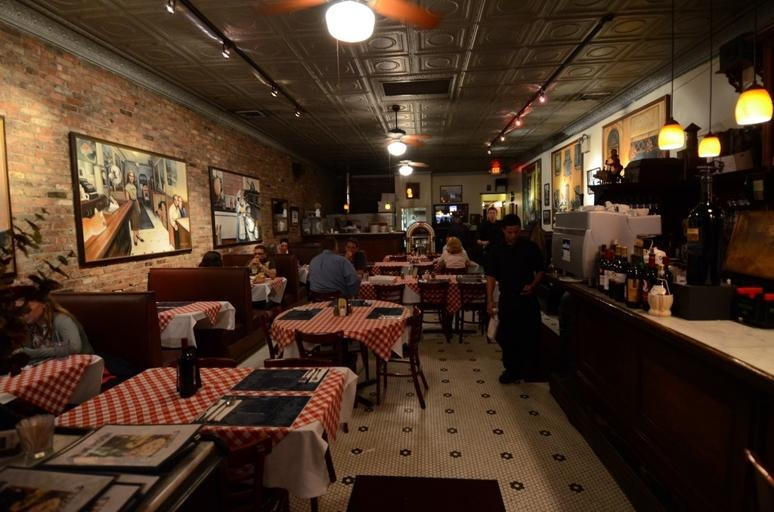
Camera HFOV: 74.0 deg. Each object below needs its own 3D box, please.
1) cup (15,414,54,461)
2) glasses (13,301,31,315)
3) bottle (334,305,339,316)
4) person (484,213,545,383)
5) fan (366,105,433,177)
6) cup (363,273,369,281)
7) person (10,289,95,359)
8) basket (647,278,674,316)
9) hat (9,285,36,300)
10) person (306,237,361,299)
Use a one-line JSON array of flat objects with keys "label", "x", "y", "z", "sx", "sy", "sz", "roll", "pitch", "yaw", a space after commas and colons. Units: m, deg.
[{"label": "cup", "x": -2.226, "y": 1.167, "z": 3.386, "sx": 0.248, "sy": 0.268, "sz": 0.250, "roll": -3, "pitch": -5, "yaw": 0}, {"label": "glasses", "x": -2.270, "y": 0.328, "z": 3.186, "sx": 0.072, "sy": 0.105, "sz": 0.238, "roll": -7, "pitch": 8, "yaw": -37}, {"label": "bottle", "x": -0.548, "y": 0.603, "z": 5.738, "sx": 0.077, "sy": 0.125, "sz": 0.079, "roll": 0, "pitch": 7, "yaw": 0}, {"label": "person", "x": 1.581, "y": 0.516, "z": 6.291, "sx": 0.677, "sy": 2.034, "sz": 0.375, "roll": -1, "pitch": 7, "yaw": 7}, {"label": "fan", "x": 0.127, "y": -2.368, "z": 10.754, "sx": 1.390, "sy": 1.218, "sz": 1.408, "roll": 4, "pitch": 14, "yaw": 22}, {"label": "cup", "x": -0.305, "y": 0.306, "z": 7.673, "sx": 0.086, "sy": 0.155, "sz": 0.161, "roll": 1, "pitch": 2, "yaw": 8}, {"label": "person", "x": -3.283, "y": 0.690, "z": 4.974, "sx": 0.585, "sy": 0.753, "sz": 0.686, "roll": -16, "pitch": -10, "yaw": 17}, {"label": "basket", "x": 2.312, "y": 0.348, "z": 4.293, "sx": 0.197, "sy": 0.246, "sz": 0.193, "roll": 5, "pitch": -1, "yaw": -13}, {"label": "hat", "x": -2.219, "y": 0.223, "z": 3.114, "sx": 0.098, "sy": 0.042, "sz": 0.115, "roll": 5, "pitch": 8, "yaw": 10}, {"label": "person", "x": -0.759, "y": 0.165, "z": 7.071, "sx": 0.865, "sy": 0.856, "sz": 0.481, "roll": 4, "pitch": 12, "yaw": 23}]
